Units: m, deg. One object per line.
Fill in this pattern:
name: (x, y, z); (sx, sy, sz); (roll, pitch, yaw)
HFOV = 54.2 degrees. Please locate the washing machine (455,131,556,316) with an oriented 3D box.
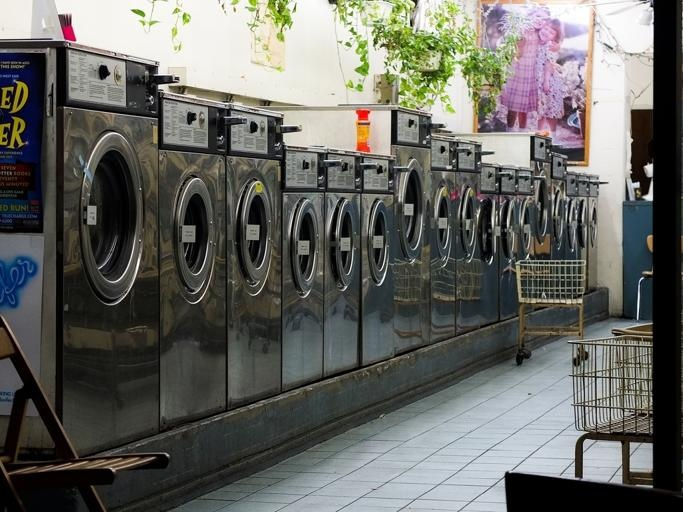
washing machine: (2.538, -0.805, 9.795); (1.098, 1.873, 0.867); (7, 10, 37)

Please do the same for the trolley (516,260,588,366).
trolley: (2.708, 0.671, 8.537); (0.835, 1.335, 0.872); (0, 3, 17)

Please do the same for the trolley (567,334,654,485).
trolley: (1.367, 0.796, 3.380); (0.373, 0.747, 0.681); (3, -6, 16)

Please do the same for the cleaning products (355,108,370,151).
cleaning products: (0.208, -1.199, 6.331); (0.141, 0.435, 0.338); (-1, 1, 1)
